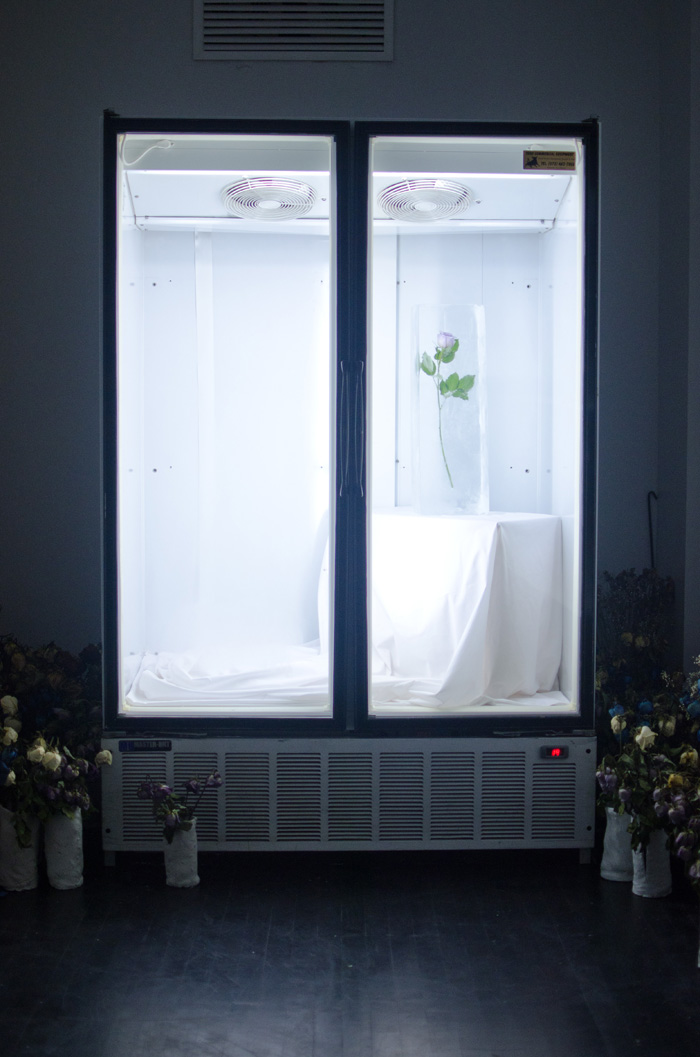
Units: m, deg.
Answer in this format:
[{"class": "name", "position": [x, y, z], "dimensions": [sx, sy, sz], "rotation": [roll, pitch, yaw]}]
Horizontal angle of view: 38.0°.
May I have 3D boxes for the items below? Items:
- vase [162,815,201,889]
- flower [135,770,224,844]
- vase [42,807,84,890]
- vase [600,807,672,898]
[{"class": "vase", "position": [-0.386, 0.746, 2.377], "dimensions": [0.090, 0.214, 0.114], "rotation": [0, 4, -4]}, {"class": "flower", "position": [-0.392, 0.619, 2.394], "dimensions": [0.138, 0.177, 0.143], "rotation": [4, -6, -39]}, {"class": "vase", "position": [-0.670, 0.745, 2.382], "dimensions": [0.089, 0.189, 0.071], "rotation": [-1, 3, -22]}, {"class": "vase", "position": [0.663, 0.753, 2.384], "dimensions": [0.098, 0.234, 0.190], "rotation": [1, -1, 6]}]
